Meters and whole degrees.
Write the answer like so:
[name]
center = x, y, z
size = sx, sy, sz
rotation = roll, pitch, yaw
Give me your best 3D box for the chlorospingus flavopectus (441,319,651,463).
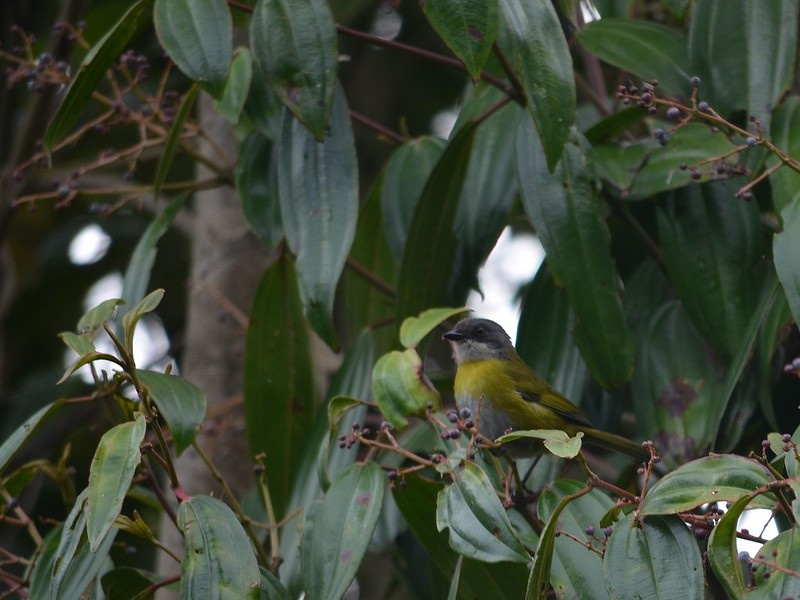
[chlorospingus flavopectus]
center = 0.634, 0.363, 5.397
size = 1.029, 0.729, 0.404
rotation = 1, -9, 26
